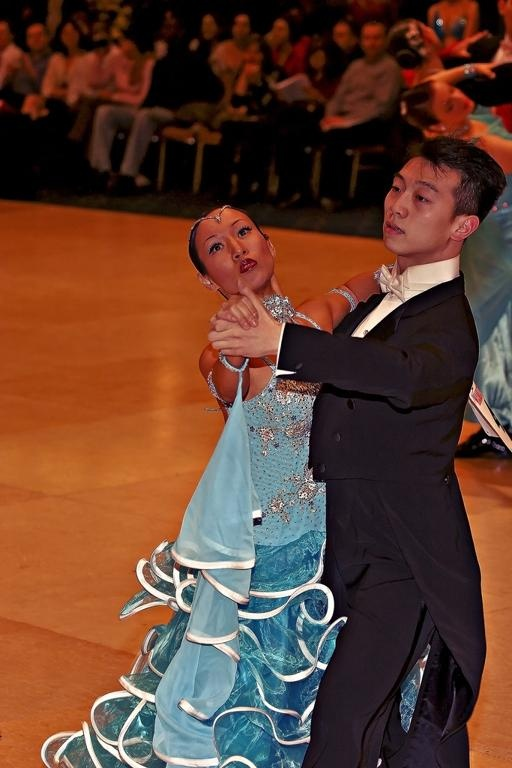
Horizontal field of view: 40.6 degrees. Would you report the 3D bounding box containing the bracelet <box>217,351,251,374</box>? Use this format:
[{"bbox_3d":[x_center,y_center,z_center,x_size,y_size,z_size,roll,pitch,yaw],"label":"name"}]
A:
[{"bbox_3d":[-0.047,-0.038,1.301,0.037,0.015,0.045,1,-30,16],"label":"bracelet"}]

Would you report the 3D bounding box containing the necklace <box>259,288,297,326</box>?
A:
[{"bbox_3d":[0.046,-0.147,1.353,0.060,0.024,0.081,-15,55,-44],"label":"necklace"}]
